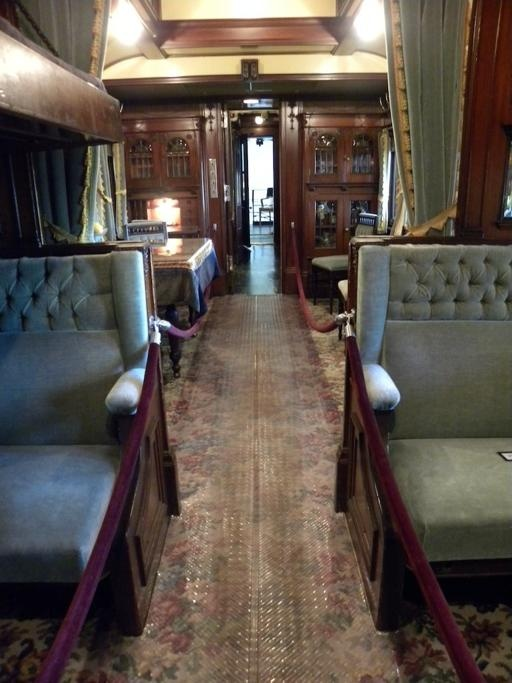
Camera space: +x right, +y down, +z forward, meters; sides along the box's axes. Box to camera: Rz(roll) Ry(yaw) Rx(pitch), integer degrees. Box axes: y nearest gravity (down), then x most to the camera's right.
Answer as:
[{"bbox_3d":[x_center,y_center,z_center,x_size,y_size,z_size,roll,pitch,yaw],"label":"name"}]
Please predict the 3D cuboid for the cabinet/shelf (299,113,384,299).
[{"bbox_3d":[1.108,-1.758,6.219,0.940,2.186,0.517,2,-6,3],"label":"cabinet/shelf"}]

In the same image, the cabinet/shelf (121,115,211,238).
[{"bbox_3d":[-1.215,-1.980,6.199,0.934,1.528,0.408,-5,11,-12],"label":"cabinet/shelf"}]

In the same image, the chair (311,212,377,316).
[{"bbox_3d":[1.034,-0.962,5.744,0.539,1.184,0.642,-10,20,-39],"label":"chair"}]
